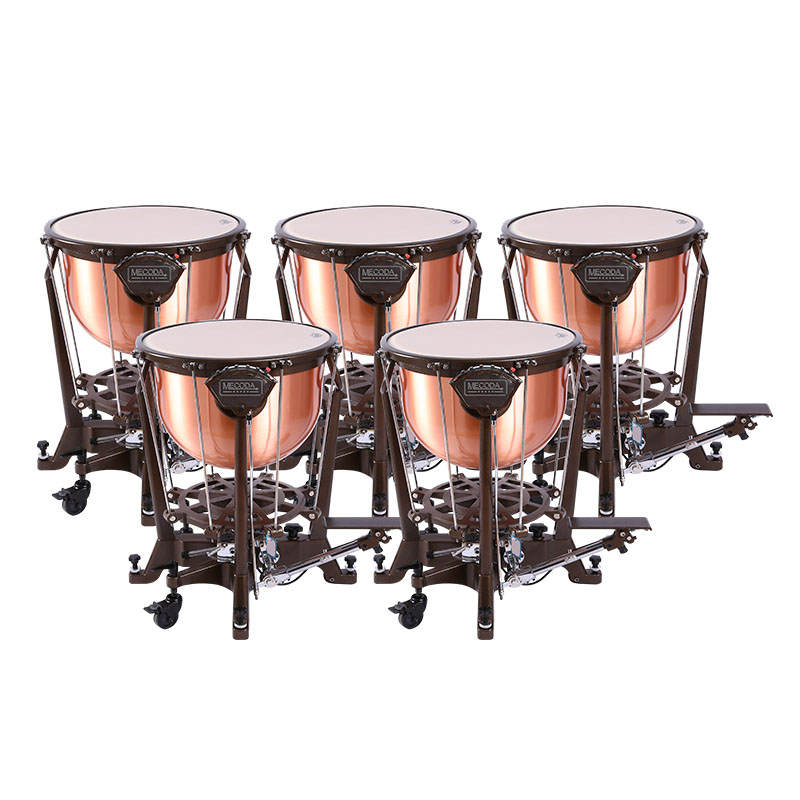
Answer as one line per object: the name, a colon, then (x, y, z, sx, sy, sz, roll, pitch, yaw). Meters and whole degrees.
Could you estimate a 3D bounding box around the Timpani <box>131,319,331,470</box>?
Timpani: (-0.421, 0.025, 2.949, 0.585, 0.314, 0.567, -1, 5, 44)

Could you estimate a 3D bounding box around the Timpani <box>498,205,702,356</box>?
Timpani: (0.713, -0.529, 3.916, 1.072, 0.528, 0.855, -1, 21, 2)

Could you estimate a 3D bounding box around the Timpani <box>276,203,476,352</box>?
Timpani: (-0.107, -0.498, 3.807, 1.002, 0.515, 0.804, -1, 20, -2)

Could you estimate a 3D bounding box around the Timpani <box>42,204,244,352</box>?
Timpani: (-0.952, -0.541, 3.731, 0.761, 0.723, 0.448, 2, -25, -4)

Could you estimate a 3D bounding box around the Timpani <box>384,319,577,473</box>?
Timpani: (0.224, -0.045, 2.800, 0.589, 0.275, 0.458, 0, 19, 2)
